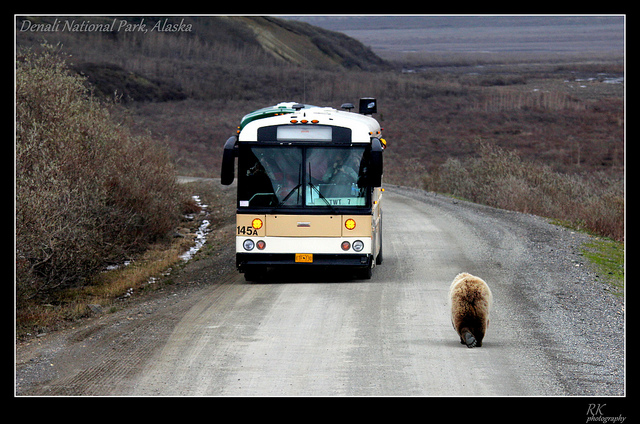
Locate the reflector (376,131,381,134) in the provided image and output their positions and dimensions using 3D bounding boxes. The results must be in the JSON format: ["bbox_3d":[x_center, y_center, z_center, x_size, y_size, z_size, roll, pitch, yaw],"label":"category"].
[{"bbox_3d":[1.957,-2.673,21.102,0.077,0.066,0.152,5,1,-1],"label":"reflector"}]

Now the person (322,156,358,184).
[{"bbox_3d":[0.581,-1.273,18.601,0.630,0.909,0.315,1,3,1],"label":"person"}]

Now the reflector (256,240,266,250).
[{"bbox_3d":[-1.766,0.976,18.671,0.250,0.267,0.061,-3,-3,2],"label":"reflector"}]

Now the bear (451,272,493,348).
[{"bbox_3d":[3.832,2.377,15.699,0.938,1.691,2.785,-9,-5,15],"label":"bear"}]

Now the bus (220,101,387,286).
[{"bbox_3d":[-0.414,0.535,23.163,4.351,5.056,9.941,0,-11,-2],"label":"bus"}]

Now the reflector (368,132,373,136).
[{"bbox_3d":[1.559,-2.425,19.323,0.112,0.066,0.117,3,-11,12],"label":"reflector"}]

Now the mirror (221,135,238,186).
[{"bbox_3d":[-2.672,-1.376,18.488,0.495,1.553,2.271,-2,14,-7],"label":"mirror"}]

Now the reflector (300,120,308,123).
[{"bbox_3d":[-0.476,-2.729,18.900,0.190,0.075,0.022,-2,13,-10],"label":"reflector"}]

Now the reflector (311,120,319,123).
[{"bbox_3d":[-0.146,-2.728,18.898,0.210,0.077,0.025,2,13,5],"label":"reflector"}]
